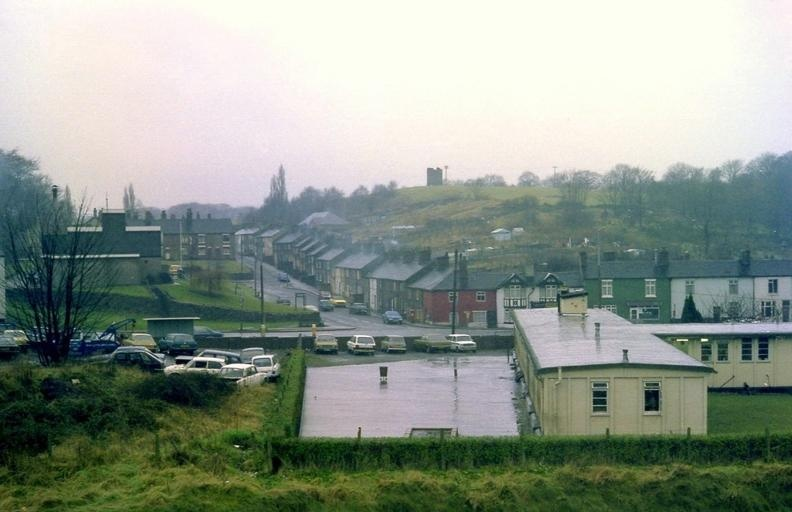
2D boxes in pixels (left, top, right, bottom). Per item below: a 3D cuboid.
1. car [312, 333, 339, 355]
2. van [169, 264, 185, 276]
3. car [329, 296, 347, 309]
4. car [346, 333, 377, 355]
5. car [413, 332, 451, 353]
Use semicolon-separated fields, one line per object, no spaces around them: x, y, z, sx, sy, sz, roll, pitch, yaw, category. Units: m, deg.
-6.268;7.950;130.888;1.711;1.174;3.216;0;-1;-9;car
-25.284;1.679;168.495;1.146;0.871;2.532;1;-4;-7;van
-6.888;5.633;176.367;1.319;1.049;2.213;0;-3;-10;car
-3.041;8.000;131.617;2.272;1.636;2.385;1;-1;-7;car
3.551;8.015;134.001;3.168;1.541;1.455;0;-1;6;car
